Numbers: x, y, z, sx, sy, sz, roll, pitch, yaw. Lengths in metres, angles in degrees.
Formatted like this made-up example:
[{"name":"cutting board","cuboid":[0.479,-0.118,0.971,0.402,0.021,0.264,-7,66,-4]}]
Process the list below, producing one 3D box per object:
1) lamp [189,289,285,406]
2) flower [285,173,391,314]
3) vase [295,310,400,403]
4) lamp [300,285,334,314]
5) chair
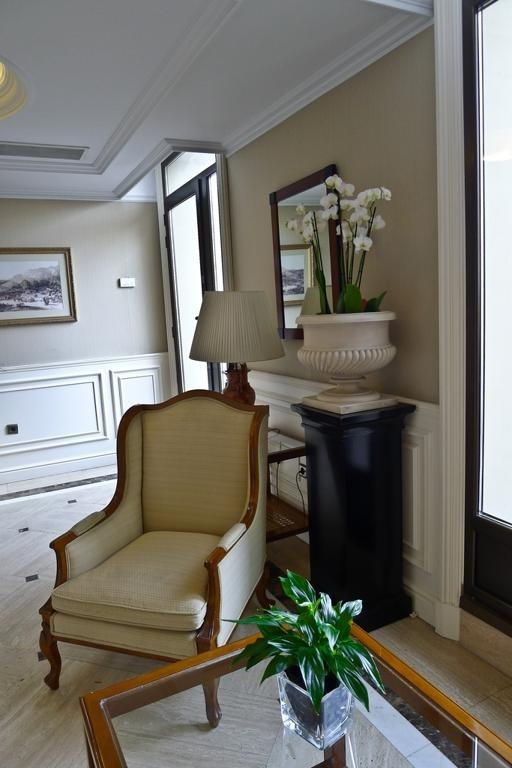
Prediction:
[{"name":"lamp","cuboid":[-0.075,-0.159,2.645,0.498,0.636,0.511,-2,4,1]},{"name":"flower","cuboid":[0.367,-0.584,2.219,0.379,0.619,0.689,-3,5,15]},{"name":"vase","cuboid":[0.359,-0.115,2.110,0.339,0.338,0.357,-5,6,-39]},{"name":"lamp","cuboid":[0.285,-0.415,2.723,0.168,0.160,0.166,-9,15,-34]},{"name":"chair","cuboid":[-0.295,0.442,2.119,0.883,1.335,0.984,1,1,18]}]
